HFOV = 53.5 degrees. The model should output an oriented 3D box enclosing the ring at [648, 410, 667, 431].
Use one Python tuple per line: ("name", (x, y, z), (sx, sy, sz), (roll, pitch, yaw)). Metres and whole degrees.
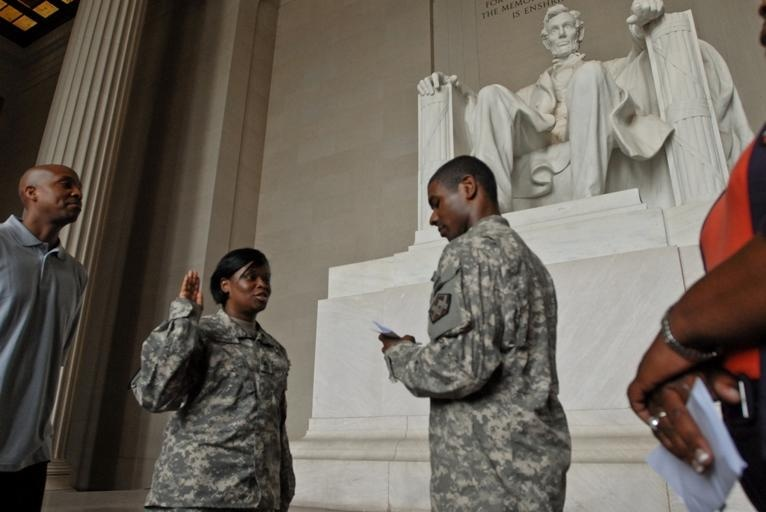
("ring", (1.200, 0.724, 3.346), (0.088, 0.060, 0.035), (-52, 20, -7))
